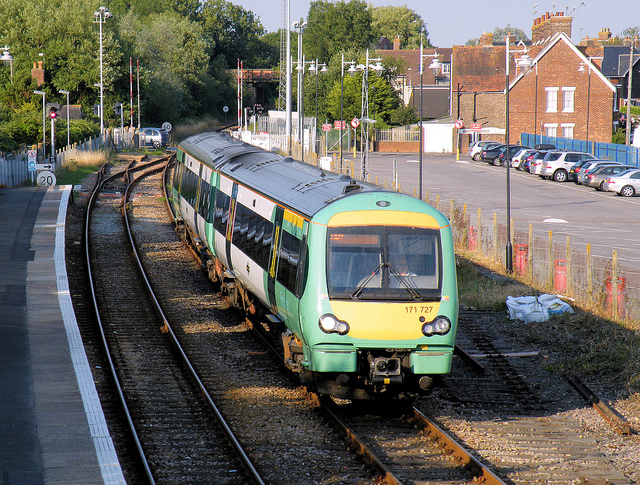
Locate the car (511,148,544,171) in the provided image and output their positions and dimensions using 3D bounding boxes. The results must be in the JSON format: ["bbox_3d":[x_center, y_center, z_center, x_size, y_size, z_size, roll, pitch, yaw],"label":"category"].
[{"bbox_3d":[13.970,-5.750,55.068,2.142,1.127,1.127,-11,18,-22],"label":"car"}]

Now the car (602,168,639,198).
[{"bbox_3d":[16.115,-3.155,43.002,2.067,0.904,0.976,-5,15,-8],"label":"car"}]

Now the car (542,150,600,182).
[{"bbox_3d":[15.802,-4.712,50.213,3.154,1.625,1.729,-4,13,-10],"label":"car"}]

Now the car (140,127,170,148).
[{"bbox_3d":[-13.948,-8.789,67.449,1.512,1.749,2.794,5,14,25],"label":"car"}]

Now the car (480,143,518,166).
[{"bbox_3d":[13.547,-6.665,60.113,2.318,1.032,1.143,-6,16,-16],"label":"car"}]

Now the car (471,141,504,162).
[{"bbox_3d":[13.249,-7.265,63.049,2.245,1.310,1.353,-6,14,-5],"label":"car"}]
